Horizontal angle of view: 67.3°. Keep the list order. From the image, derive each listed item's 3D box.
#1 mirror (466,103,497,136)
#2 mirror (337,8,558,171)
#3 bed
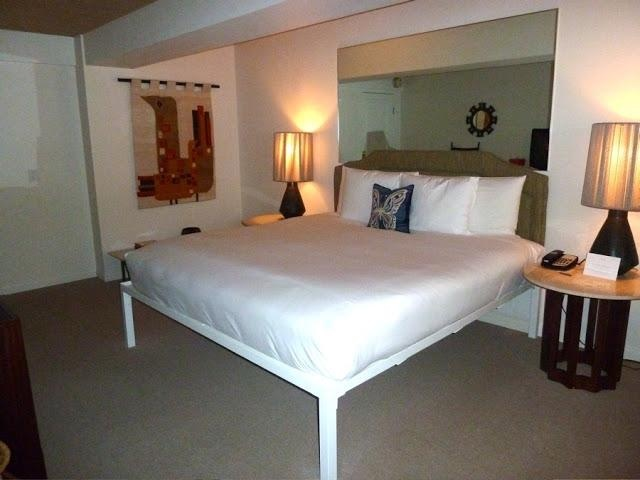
[{"bbox_3d":[1.340,-1.000,3.976,0.248,0.283,0.012,12,14,39],"label":"mirror"},{"bbox_3d":[1.129,-1.285,4.074,1.474,1.052,0.027,6,10,38],"label":"mirror"},{"bbox_3d":[0.450,0.594,3.706,2.198,1.493,2.605,13,20,41],"label":"bed"}]
